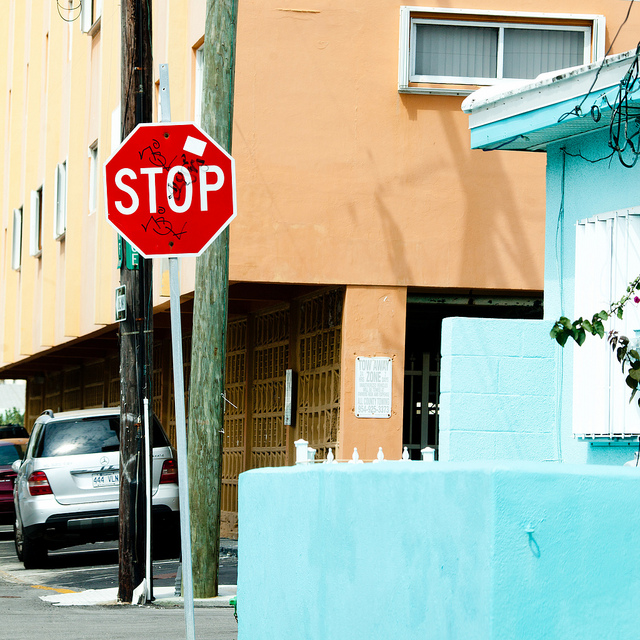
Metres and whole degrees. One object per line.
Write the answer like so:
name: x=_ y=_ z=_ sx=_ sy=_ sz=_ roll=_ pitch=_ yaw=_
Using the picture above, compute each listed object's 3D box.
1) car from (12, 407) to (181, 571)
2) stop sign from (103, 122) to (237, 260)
car: x=-2.547 y=1.785 z=16.074 sx=1.082 sy=1.324 sz=2.668 roll=0 pitch=-4 yaw=-11
stop sign: x=-0.845 y=-0.746 z=8.632 sx=0.728 sy=0.839 sz=0.323 roll=-1 pitch=-8 yaw=-7
